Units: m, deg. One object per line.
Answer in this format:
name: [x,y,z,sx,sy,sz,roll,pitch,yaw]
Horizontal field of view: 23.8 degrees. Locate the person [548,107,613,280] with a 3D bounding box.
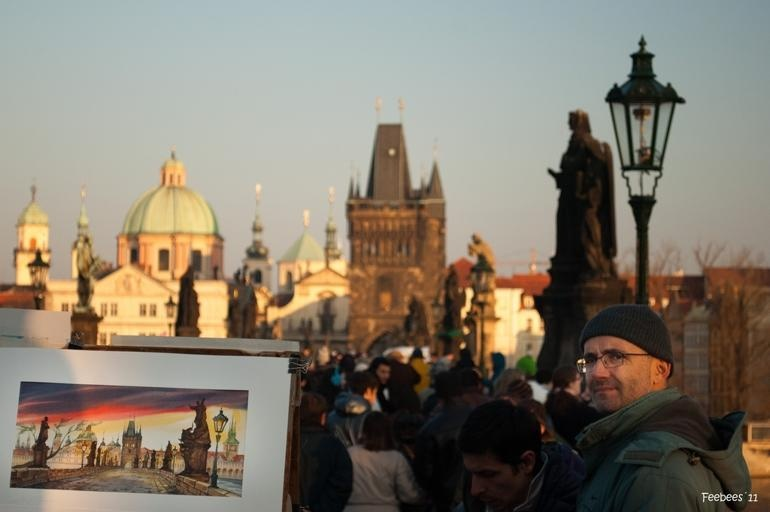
person: [2.386,-0.681,21.785,0.874,2.013,0.468,-6,-8,39]
